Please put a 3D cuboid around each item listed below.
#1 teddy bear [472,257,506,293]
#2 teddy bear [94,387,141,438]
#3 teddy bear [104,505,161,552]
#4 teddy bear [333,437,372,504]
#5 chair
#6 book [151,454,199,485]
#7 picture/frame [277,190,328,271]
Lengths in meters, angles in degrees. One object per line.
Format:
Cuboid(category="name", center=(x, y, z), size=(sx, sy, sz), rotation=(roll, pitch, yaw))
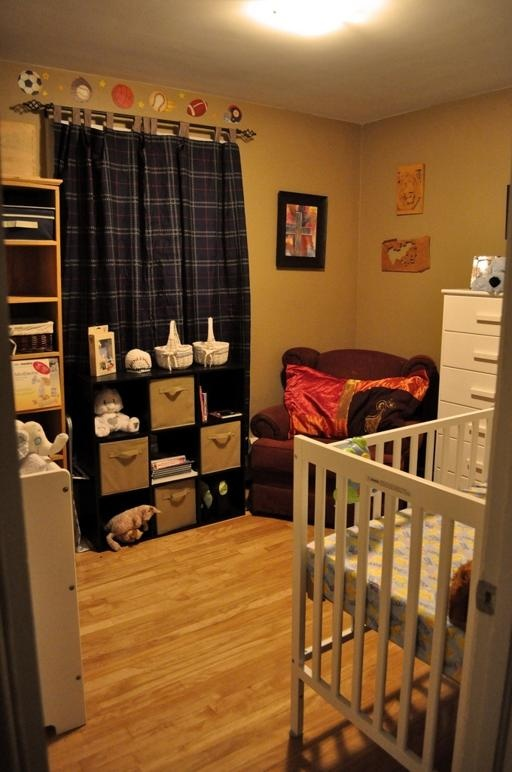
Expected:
Cuboid(category="teddy bear", center=(1.250, -0.597, 3.104), size=(0.155, 0.203, 0.298), rotation=(3, 10, 19))
Cuboid(category="teddy bear", center=(-0.760, 0.130, 3.111), size=(0.215, 0.287, 0.257), rotation=(2, 1, 40))
Cuboid(category="teddy bear", center=(-0.683, 0.758, 3.158), size=(0.313, 0.179, 0.165), rotation=(-28, 23, -27))
Cuboid(category="teddy bear", center=(0.283, 0.245, 1.657), size=(0.050, 0.183, 0.149), rotation=(7, -7, -39))
Cuboid(category="chair", center=(0.579, 0.158, 3.782), size=(1.101, 1.147, 1.081), rotation=(2, 0, 18))
Cuboid(category="book", center=(-0.482, 0.476, 3.280), size=(0.179, 0.070, 0.142), rotation=(-7, 13, -29))
Cuboid(category="picture/frame", center=(0.314, -1.118, 4.062), size=(0.515, 0.651, 0.062), rotation=(-7, 12, -38))
